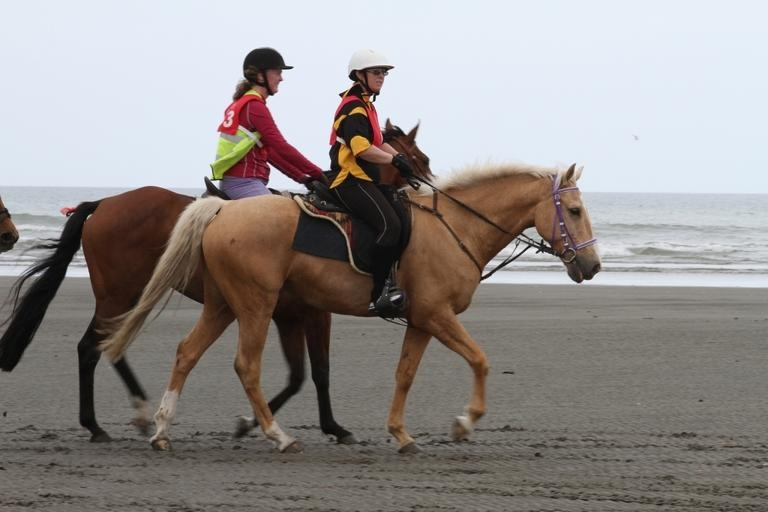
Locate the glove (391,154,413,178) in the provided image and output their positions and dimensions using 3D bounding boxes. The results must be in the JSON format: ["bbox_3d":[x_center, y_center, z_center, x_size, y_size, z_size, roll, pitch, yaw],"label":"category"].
[{"bbox_3d":[0.232,-0.949,9.696,0.146,0.248,0.183,-39,27,6],"label":"glove"}]

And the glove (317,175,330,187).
[{"bbox_3d":[-0.619,-0.799,9.758,0.142,0.123,0.056,22,3,38],"label":"glove"}]

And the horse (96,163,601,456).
[{"bbox_3d":[-0.358,0.469,9.671,5.506,2.837,1.129,-2,-6,-8],"label":"horse"}]

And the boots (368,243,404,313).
[{"bbox_3d":[0.050,0.266,9.355,0.346,0.745,0.280,0,8,-4],"label":"boots"}]
